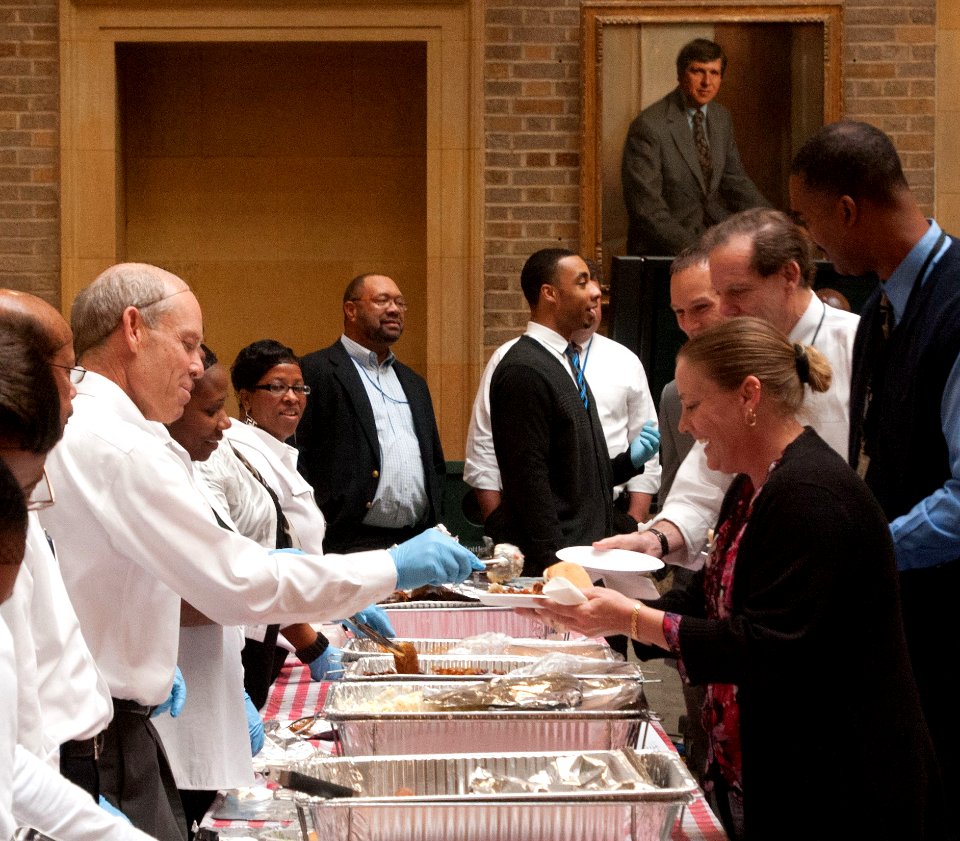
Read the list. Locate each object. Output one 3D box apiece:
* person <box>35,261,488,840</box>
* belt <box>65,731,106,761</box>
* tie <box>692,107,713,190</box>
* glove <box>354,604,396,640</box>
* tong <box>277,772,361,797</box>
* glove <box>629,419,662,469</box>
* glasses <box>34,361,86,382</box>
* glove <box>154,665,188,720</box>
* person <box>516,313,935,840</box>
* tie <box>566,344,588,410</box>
[{"bbox_3d":[-0.626,0.080,3.419,1.073,2.341,0.773,-3,8,-21],"label":"person"},{"bbox_3d":[-0.755,0.621,2.358,0.058,0.047,0.050,-3,-2,23],"label":"belt"},{"bbox_3d":[1.189,-1.476,6.609,0.082,0.447,0.096,-3,18,15],"label":"tie"},{"bbox_3d":[-0.265,0.520,3.177,0.109,0.038,0.086,34,11,-12],"label":"glove"},{"bbox_3d":[-0.283,0.628,2.107,0.091,0.025,0.058,10,-1,-19],"label":"tong"},{"bbox_3d":[0.669,0.098,5.028,0.091,0.119,0.167,29,0,-5],"label":"glove"},{"bbox_3d":[-0.726,-0.084,2.116,0.060,0.023,0.066,4,0,7],"label":"glasses"},{"bbox_3d":[-0.657,0.598,2.637,0.036,0.116,0.080,22,21,-1],"label":"glove"},{"bbox_3d":[0.568,0.356,2.464,0.623,1.128,0.360,-1,2,36],"label":"person"},{"bbox_3d":[0.364,-0.158,4.701,0.042,0.287,0.134,-7,-4,6],"label":"tie"}]
